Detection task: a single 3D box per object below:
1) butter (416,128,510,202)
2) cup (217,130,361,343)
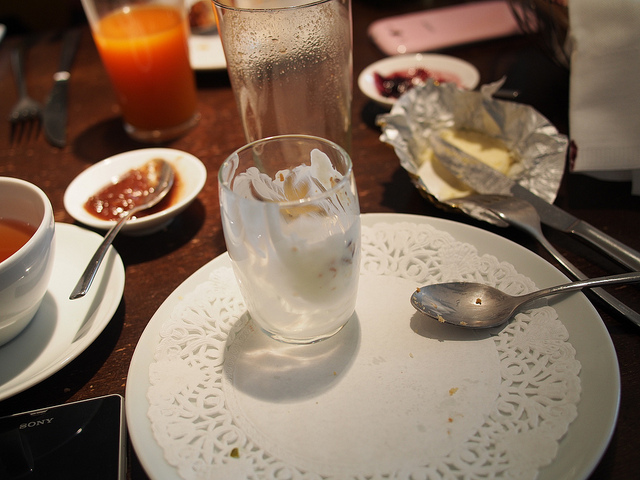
[{"bbox_3d":[0.236,-0.131,0.869,0.116,0.031,0.137,16,61,28],"label":"butter"},{"bbox_3d":[-0.031,0.001,0.666,0.160,0.195,0.179,-3,47,3],"label":"cup"}]
